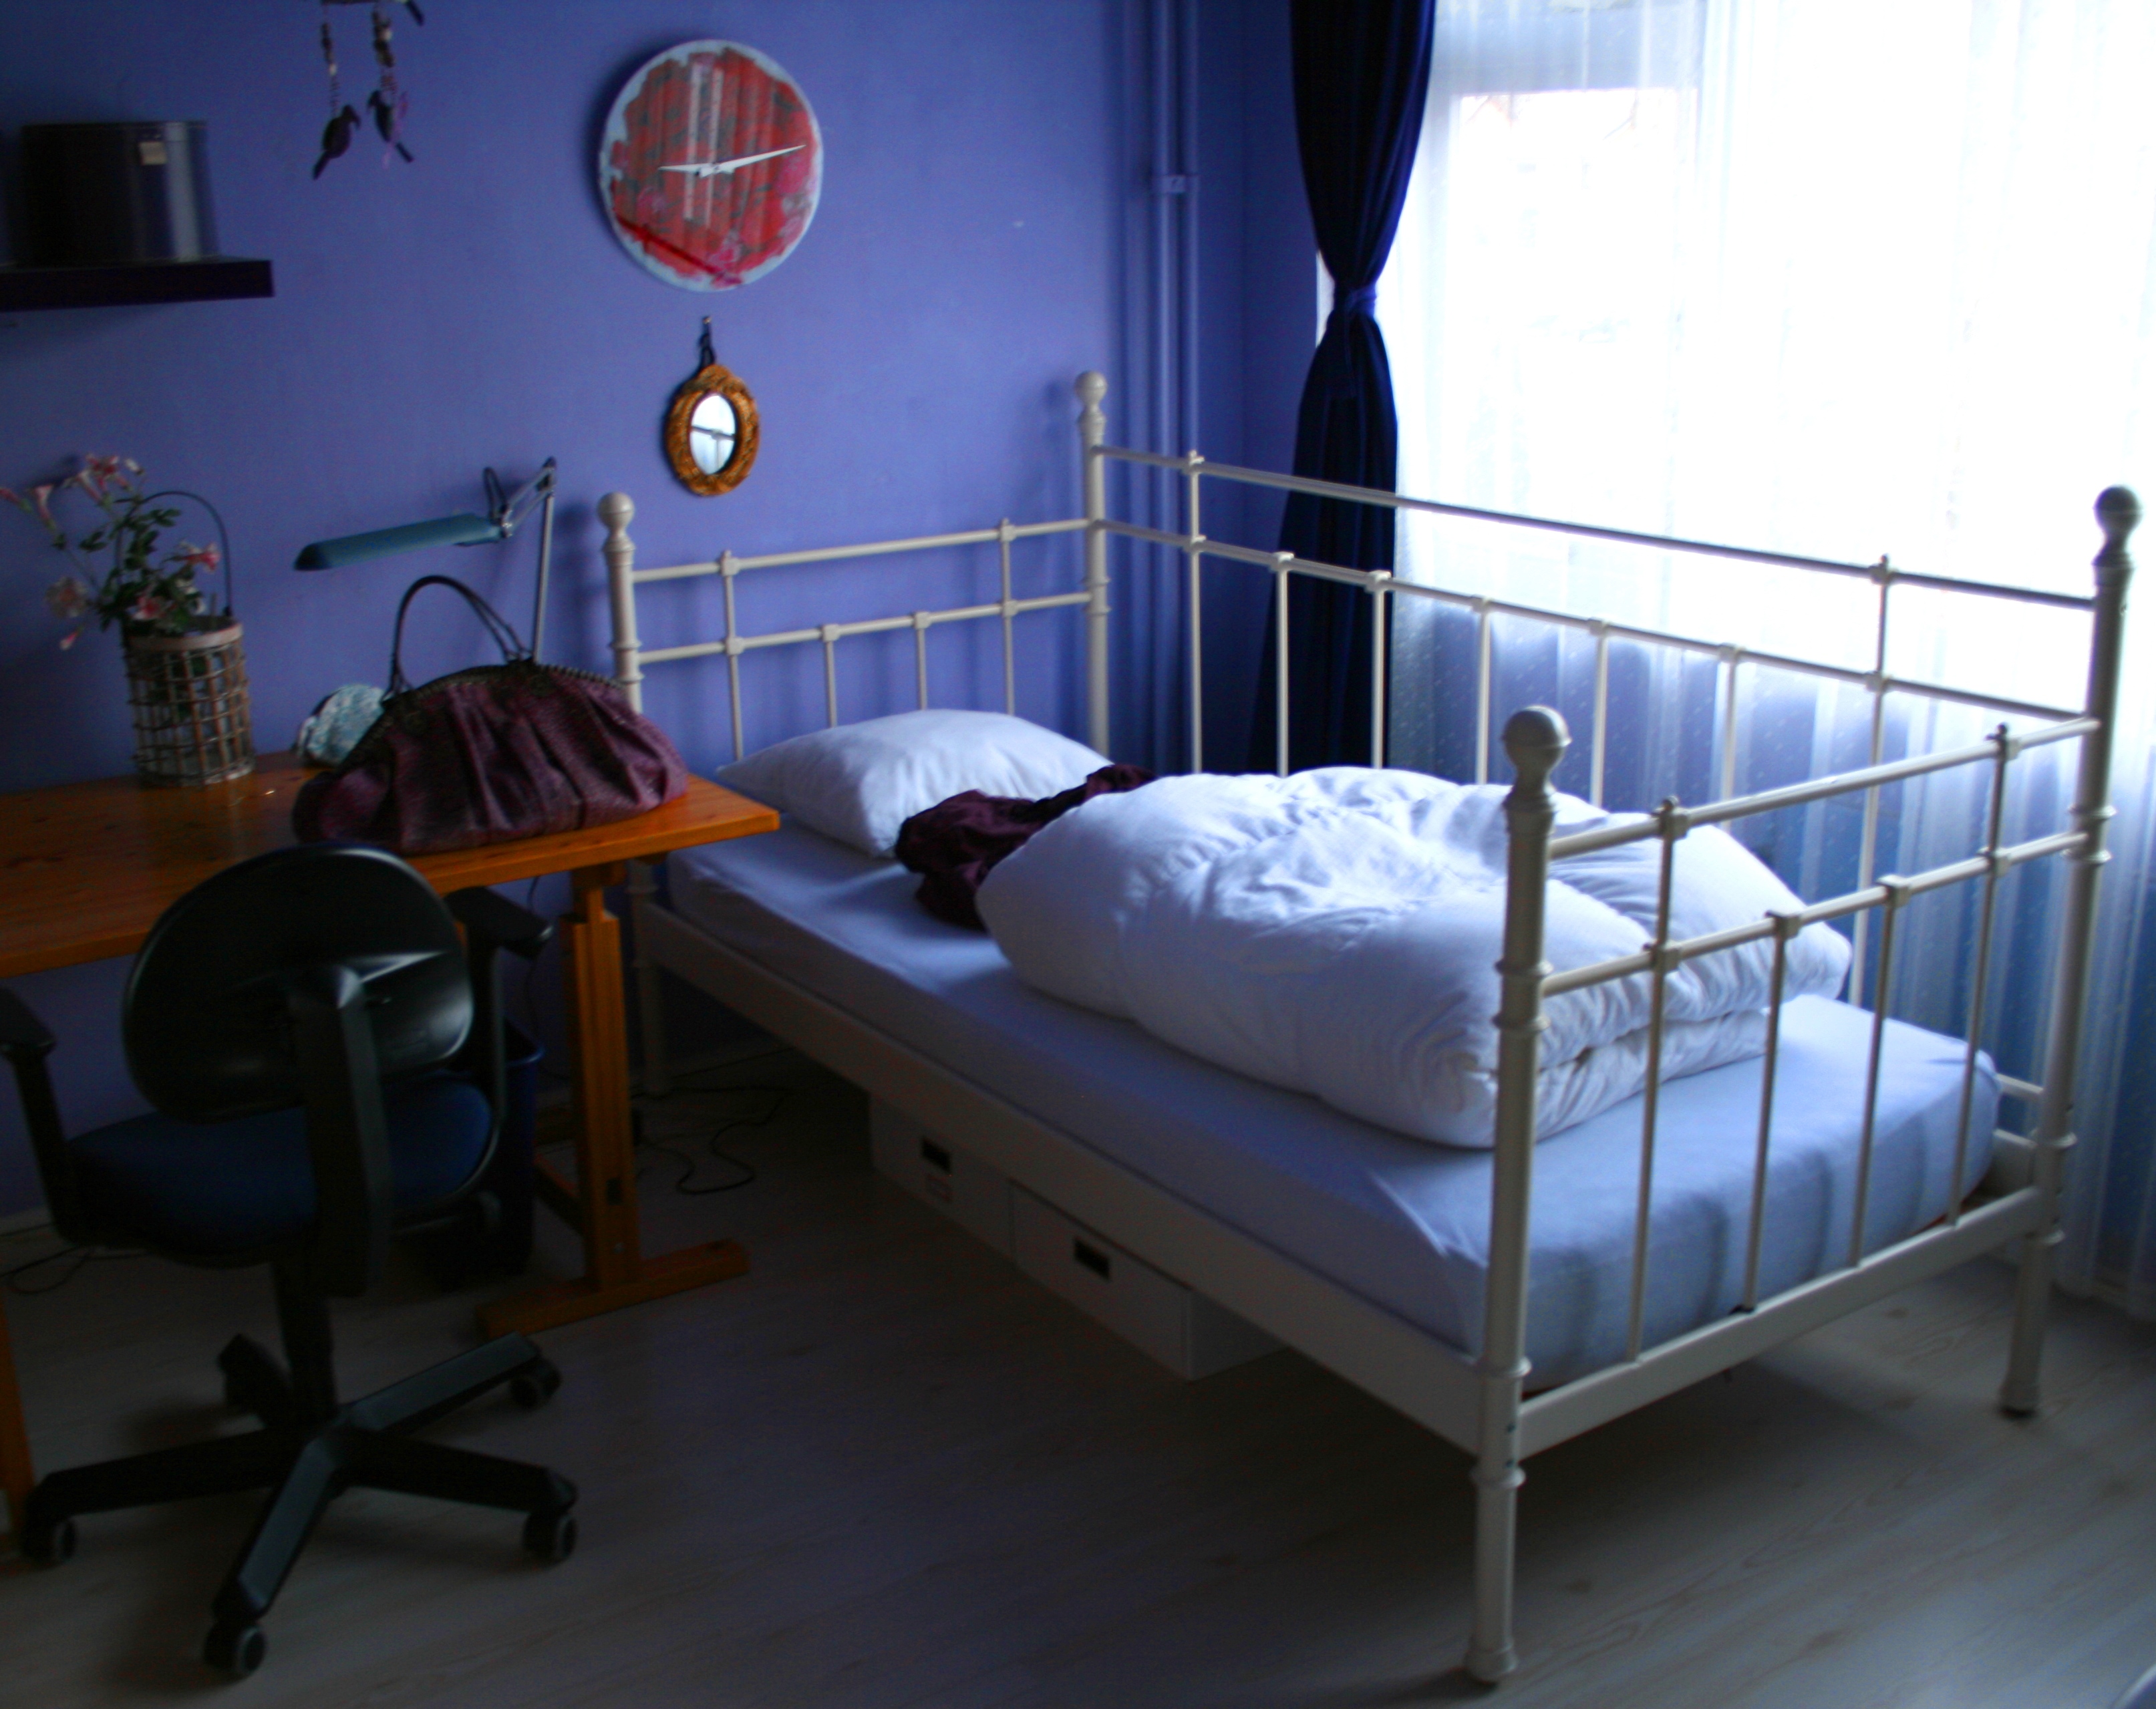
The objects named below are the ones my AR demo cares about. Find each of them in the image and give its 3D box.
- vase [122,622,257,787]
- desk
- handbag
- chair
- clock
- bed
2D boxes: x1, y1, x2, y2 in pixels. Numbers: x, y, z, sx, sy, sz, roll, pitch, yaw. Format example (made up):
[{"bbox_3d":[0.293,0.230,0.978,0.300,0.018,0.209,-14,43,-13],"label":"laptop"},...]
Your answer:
[{"bbox_3d":[-1.460,-0.221,2.911,0.237,0.237,0.214,-9,16,-33],"label":"vase"},{"bbox_3d":[-1.121,0.204,2.842,1.027,0.659,1.139,-12,25,-28],"label":"desk"},{"bbox_3d":[-0.960,-0.219,2.901,0.524,0.338,0.262,-12,5,-35],"label":"handbag"},{"bbox_3d":[-1.018,0.558,2.374,0.674,0.864,0.624,-20,39,-40],"label":"chair"},{"bbox_3d":[-0.668,-1.319,3.451,0.415,0.381,0.396,-3,-7,-22],"label":"clock"},{"bbox_3d":[0.296,0.021,3.182,1.427,1.313,2.423,-15,24,-34],"label":"bed"}]
